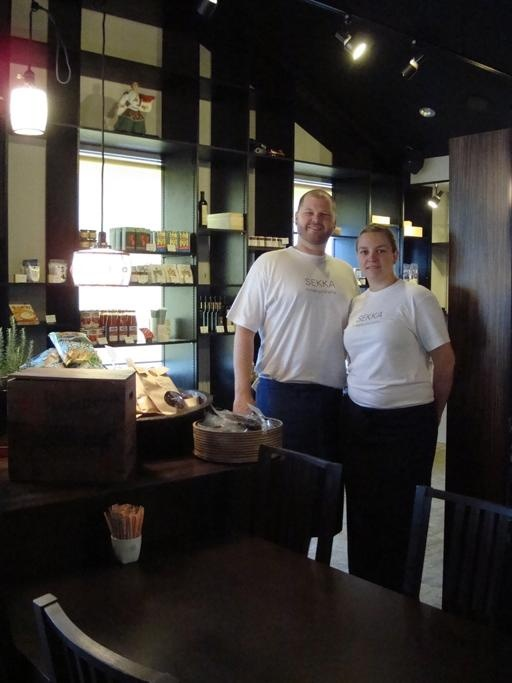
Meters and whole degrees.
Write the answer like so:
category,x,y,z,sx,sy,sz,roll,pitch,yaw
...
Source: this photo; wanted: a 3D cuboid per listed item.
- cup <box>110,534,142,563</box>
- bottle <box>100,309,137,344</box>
category,x,y,z,sx,sy,sz,roll,pitch,yaw
cup,-0.285,0.454,1.241,0.055,0.051,0.055,-2,2,0
bottle,-1.018,-0.108,4.150,0.214,0.235,0.101,-1,6,-34
